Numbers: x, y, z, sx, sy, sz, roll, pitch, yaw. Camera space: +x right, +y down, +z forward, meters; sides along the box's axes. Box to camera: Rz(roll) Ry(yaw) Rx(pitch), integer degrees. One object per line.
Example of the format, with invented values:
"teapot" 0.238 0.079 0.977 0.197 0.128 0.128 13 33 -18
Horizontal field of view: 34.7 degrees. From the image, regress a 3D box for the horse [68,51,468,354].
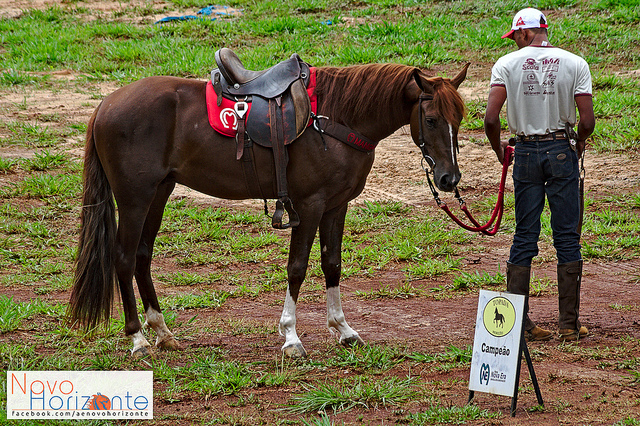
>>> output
"horse" -0.550 -0.135 13.919 6.425 3.738 1.763 0 -2 26
